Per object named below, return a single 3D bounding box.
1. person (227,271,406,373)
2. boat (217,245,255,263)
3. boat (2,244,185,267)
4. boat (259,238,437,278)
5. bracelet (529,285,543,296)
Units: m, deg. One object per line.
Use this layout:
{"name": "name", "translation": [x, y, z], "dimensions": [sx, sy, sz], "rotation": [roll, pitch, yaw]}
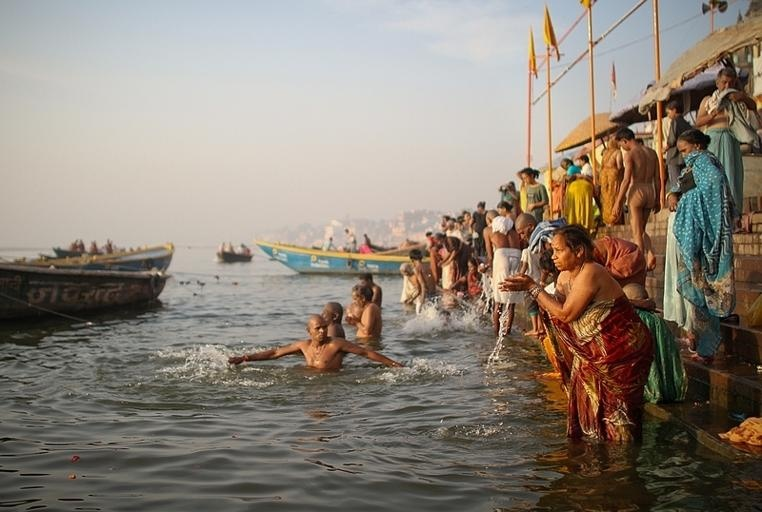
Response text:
{"name": "person", "translation": [-0.950, 1.341, 13.239], "dimensions": [2.517, 0.903, 0.760], "rotation": [1, 15, 7]}
{"name": "boat", "translation": [-10.498, -0.093, 61.321], "dimensions": [1.702, 1.266, 3.207], "rotation": [-3, -5, 16]}
{"name": "boat", "translation": [-10.479, 0.032, 31.446], "dimensions": [1.206, 1.026, 5.960], "rotation": [6, 2, 39]}
{"name": "boat", "translation": [-3.130, 0.238, 42.894], "dimensions": [9.726, 1.553, 2.576], "rotation": [2, 0, 27]}
{"name": "bracelet", "translation": [1.875, 0.414, 10.210], "dimensions": [0.140, 0.093, 0.133], "rotation": [-11, 5, -24]}
